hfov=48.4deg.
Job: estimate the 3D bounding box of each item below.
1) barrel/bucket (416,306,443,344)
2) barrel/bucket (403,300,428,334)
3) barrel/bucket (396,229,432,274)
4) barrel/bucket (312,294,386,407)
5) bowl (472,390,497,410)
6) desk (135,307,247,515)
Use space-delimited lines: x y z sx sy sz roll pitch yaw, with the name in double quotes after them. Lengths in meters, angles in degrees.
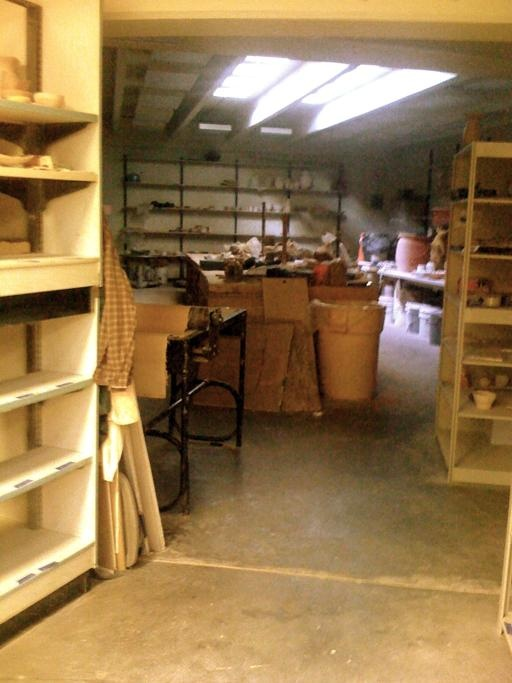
2.314 -0.258 7.940 0.539 0.514 0.539 0 8 0 "barrel/bucket"
2.323 -0.342 8.381 0.441 0.502 0.393 -1 12 -3 "barrel/bucket"
2.593 -1.498 9.487 0.668 0.646 0.664 3 5 0 "barrel/bucket"
0.630 0.063 5.342 1.013 1.060 0.833 -1 4 -4 "barrel/bucket"
1.366 0.347 3.418 0.129 0.081 0.122 -2 9 0 "bowl"
-0.372 0.426 3.301 0.436 0.875 1.113 5 10 10 "desk"
